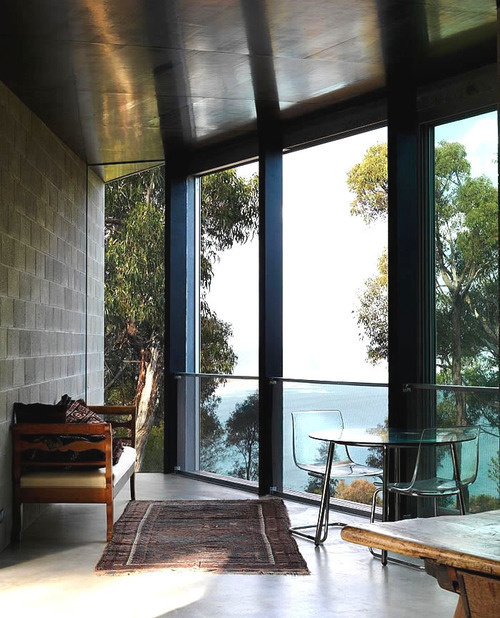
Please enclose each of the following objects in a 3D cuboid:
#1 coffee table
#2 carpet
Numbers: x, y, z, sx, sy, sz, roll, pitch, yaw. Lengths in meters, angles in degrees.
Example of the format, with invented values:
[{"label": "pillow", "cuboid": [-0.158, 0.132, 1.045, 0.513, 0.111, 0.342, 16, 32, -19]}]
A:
[{"label": "coffee table", "cuboid": [0.885, 0.990, 3.474, 0.872, 0.718, 0.985, 3, -6, -27]}, {"label": "carpet", "cuboid": [-0.361, 1.646, 3.927, 1.385, 0.048, 1.748, 0, -7, -2]}]
